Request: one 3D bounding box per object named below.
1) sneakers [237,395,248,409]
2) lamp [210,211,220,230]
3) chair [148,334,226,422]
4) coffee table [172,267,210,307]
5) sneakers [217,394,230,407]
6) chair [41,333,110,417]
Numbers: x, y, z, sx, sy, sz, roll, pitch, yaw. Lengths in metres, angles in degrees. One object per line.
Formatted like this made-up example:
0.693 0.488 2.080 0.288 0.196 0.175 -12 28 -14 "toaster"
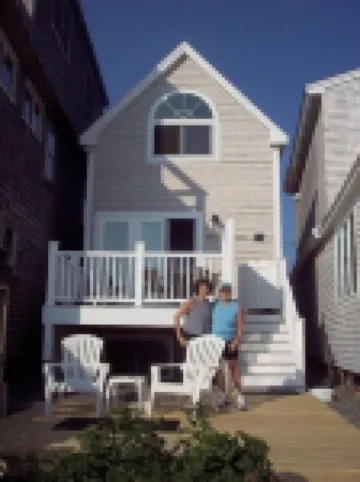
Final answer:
0.713 1.824 4.745 0.069 0.103 0.224 0 0 1 "sneakers"
0.807 -0.398 9.584 0.226 0.314 0.189 1 -12 5 "lamp"
0.200 1.480 4.579 0.573 0.795 0.830 3 -9 10 "chair"
0.150 0.897 8.498 0.700 0.622 0.763 2 -3 -14 "coffee table"
0.513 1.905 4.956 0.071 0.100 0.220 -11 -22 16 "sneakers"
-1.191 1.555 4.883 0.741 0.953 0.747 -14 -21 43 "chair"
